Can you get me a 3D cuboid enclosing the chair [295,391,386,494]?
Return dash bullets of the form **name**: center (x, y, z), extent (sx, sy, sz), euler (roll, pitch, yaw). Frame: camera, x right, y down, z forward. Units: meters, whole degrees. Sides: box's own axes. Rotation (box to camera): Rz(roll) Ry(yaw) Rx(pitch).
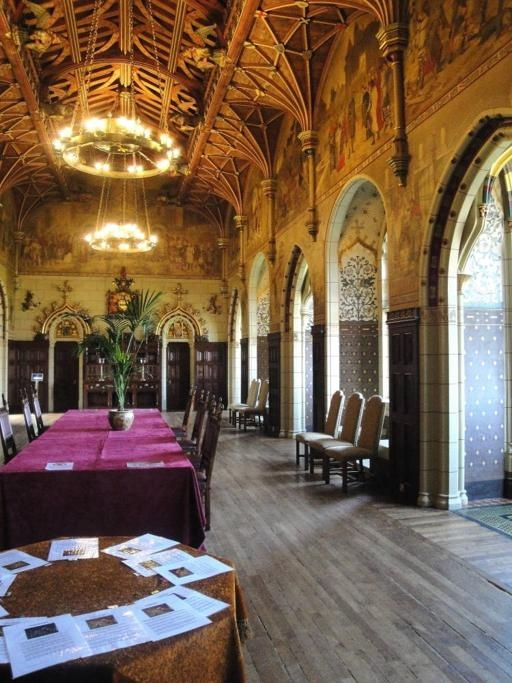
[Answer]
- **chair**: center (1.316, 1.466, 6.961), extent (0.992, 1.350, 1.704), euler (1, -4, 1)
